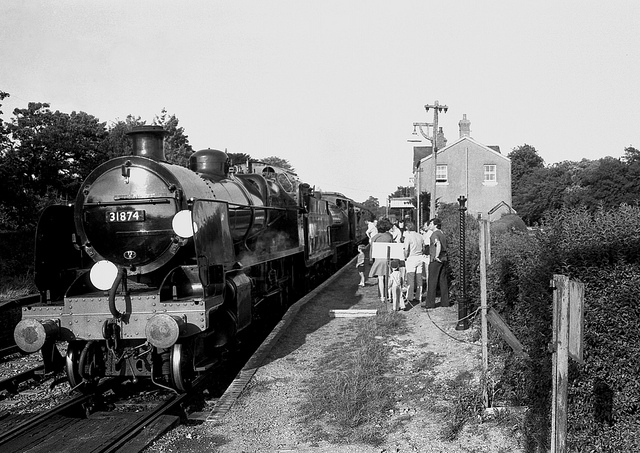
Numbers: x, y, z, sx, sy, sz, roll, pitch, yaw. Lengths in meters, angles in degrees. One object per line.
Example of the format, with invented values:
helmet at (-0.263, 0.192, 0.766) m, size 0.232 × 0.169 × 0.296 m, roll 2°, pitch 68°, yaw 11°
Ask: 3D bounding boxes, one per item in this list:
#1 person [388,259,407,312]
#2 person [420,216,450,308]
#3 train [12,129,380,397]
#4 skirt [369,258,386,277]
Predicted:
person at (1.711, 1.320, 11.918) m, size 0.403 × 1.192 × 0.644 m, roll -1°, pitch 7°, yaw 9°
person at (2.623, 0.861, 12.217) m, size 0.592 × 1.987 × 1.262 m, roll -1°, pitch 7°, yaw 14°
train at (-1.832, 0.297, 12.613) m, size 2.906 × 4.105 × 10.850 m, roll -3°, pitch 2°, yaw 13°
skirt at (1.354, 0.981, 12.557) m, size 0.375 × 0.439 × 0.357 m, roll 2°, pitch -8°, yaw 23°
